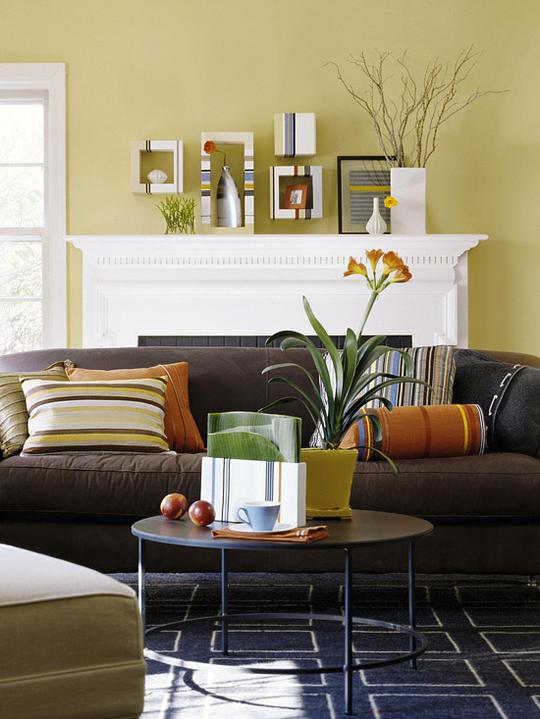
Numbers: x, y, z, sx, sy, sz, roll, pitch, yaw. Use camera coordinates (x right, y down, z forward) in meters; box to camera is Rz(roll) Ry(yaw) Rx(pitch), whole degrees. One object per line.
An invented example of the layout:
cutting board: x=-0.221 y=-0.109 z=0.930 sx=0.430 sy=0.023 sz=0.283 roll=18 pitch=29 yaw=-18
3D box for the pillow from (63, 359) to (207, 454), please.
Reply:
pillow: x=-0.379 y=0.143 z=2.571 sx=0.387 sy=0.356 sz=0.113 roll=1 pitch=-18 yaw=-5

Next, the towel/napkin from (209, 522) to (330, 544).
towel/napkin: x=-0.001 y=0.313 z=1.346 sx=0.208 sy=0.025 sz=0.101 roll=0 pitch=-4 yaw=6

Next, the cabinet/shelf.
cabinet/shelf: x=-0.247 y=-1.095 z=4.267 sx=1.094 sy=0.659 sz=0.197 roll=0 pitch=-4 yaw=0

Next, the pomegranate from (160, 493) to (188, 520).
pomegranate: x=-0.197 y=0.313 z=1.581 sx=0.053 sy=0.059 sz=0.050 roll=14 pitch=-17 yaw=1

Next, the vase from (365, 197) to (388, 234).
vase: x=0.591 y=-0.804 z=4.138 sx=0.115 sy=0.258 sz=0.202 roll=0 pitch=-4 yaw=8

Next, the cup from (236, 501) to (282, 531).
cup: x=-0.018 y=0.282 z=1.398 sx=0.069 sy=0.041 sz=0.057 roll=-1 pitch=-1 yaw=36

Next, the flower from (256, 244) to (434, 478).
flower: x=0.166 y=0.017 z=1.638 sx=0.406 sy=0.560 sz=0.345 roll=12 pitch=1 yaw=-1

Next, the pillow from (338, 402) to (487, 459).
pillow: x=0.459 y=0.231 z=2.334 sx=0.448 sy=0.179 sz=0.171 roll=-1 pitch=-3 yaw=-17

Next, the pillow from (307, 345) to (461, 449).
pillow: x=0.487 y=0.090 z=2.667 sx=0.324 sy=0.303 sz=0.117 roll=-3 pitch=-12 yaw=38

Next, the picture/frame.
picture/frame: x=0.584 y=-0.959 z=4.282 sx=0.345 sy=0.455 sz=0.019 roll=-4 pitch=11 yaw=-12

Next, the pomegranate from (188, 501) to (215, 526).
pomegranate: x=-0.135 y=0.305 z=1.460 sx=0.049 sy=0.047 sz=0.046 roll=22 pitch=-14 yaw=-31

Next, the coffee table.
coffee table: x=0.020 y=0.425 z=1.533 sx=0.532 sy=0.285 sz=0.481 roll=0 pitch=-3 yaw=-13

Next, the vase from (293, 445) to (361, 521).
vase: x=0.123 y=0.267 z=1.600 sx=0.130 sy=0.142 sz=0.112 roll=-2 pitch=-6 yaw=6
